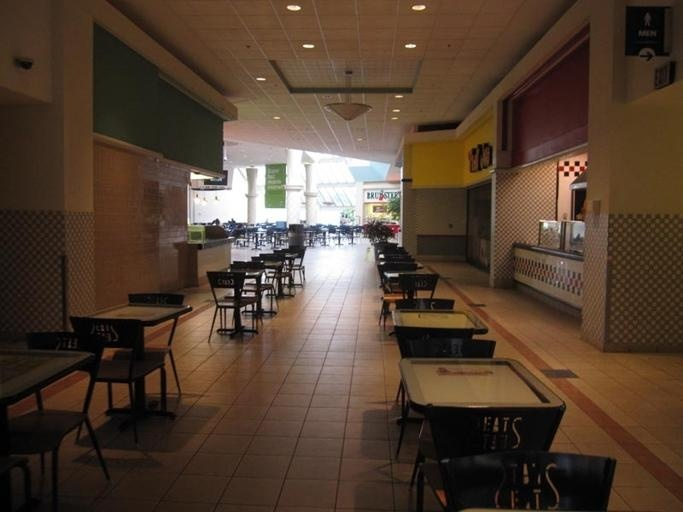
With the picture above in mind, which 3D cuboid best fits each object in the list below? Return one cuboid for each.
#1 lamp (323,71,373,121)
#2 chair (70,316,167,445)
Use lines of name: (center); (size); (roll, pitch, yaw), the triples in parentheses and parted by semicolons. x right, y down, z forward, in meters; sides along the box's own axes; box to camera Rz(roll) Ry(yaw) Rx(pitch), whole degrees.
lamp: (0.160, -3.465, 10.746); (0.919, 1.027, 0.900); (0, 0, 3)
chair: (-1.776, 0.927, 4.032); (0.566, 0.882, 0.602); (2, 0, 17)
